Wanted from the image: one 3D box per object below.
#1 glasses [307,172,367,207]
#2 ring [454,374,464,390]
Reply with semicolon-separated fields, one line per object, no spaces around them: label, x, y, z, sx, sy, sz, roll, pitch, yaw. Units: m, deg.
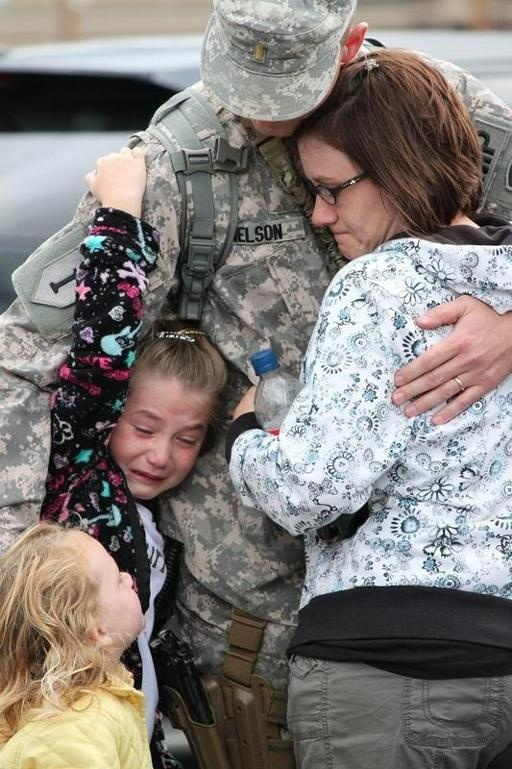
glasses;0.194;-0.421;1.800;0.142;0.037;0.124;-14;17;-23
ring;0.401;-0.005;1.629;0.007;0.023;0.025;-29;1;-16
